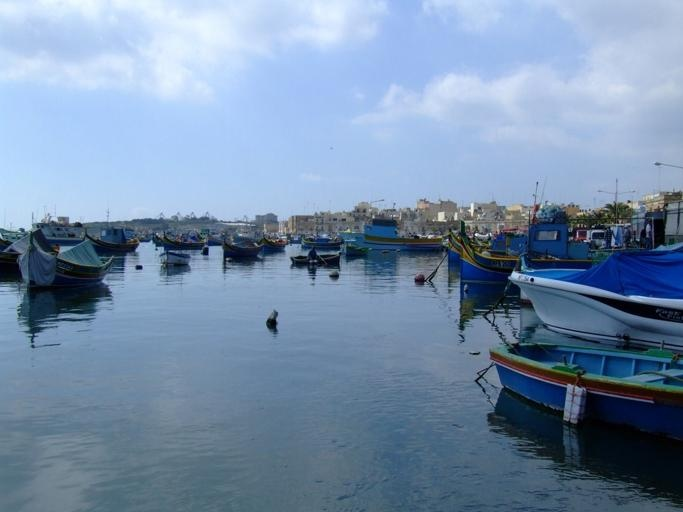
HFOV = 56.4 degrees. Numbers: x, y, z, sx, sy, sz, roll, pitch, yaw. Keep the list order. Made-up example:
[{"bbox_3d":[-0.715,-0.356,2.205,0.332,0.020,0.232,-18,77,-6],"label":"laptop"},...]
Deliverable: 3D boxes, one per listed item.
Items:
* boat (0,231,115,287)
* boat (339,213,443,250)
[{"bbox_3d":[-17.834,0.443,41.879,3.313,2.724,6.353,-1,-4,17],"label":"boat"},{"bbox_3d":[8.792,-3.690,107.138,15.307,6.337,9.173,2,14,6],"label":"boat"}]
